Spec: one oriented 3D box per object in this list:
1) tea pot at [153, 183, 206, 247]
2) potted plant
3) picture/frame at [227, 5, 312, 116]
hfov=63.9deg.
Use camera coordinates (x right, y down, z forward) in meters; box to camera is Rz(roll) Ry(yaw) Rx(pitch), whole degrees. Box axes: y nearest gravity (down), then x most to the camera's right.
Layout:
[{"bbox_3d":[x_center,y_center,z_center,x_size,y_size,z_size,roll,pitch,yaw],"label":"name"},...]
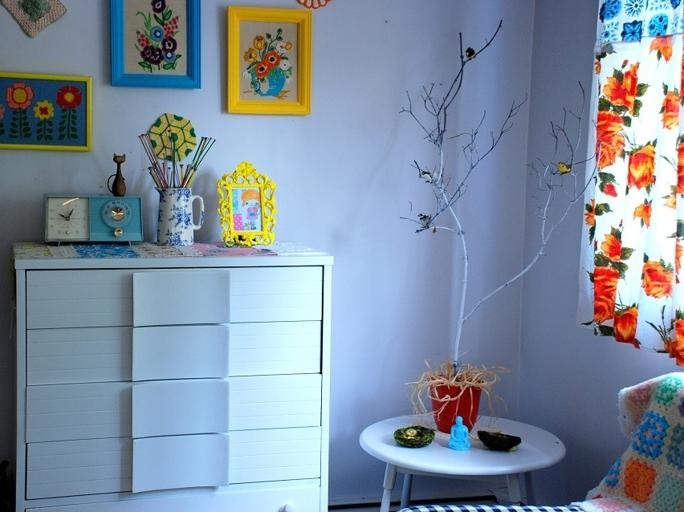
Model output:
[{"bbox_3d":[-0.615,-0.152,2.172,0.147,0.223,0.223,1,4,31],"label":"tea pot"},{"bbox_3d":[0.655,-0.054,2.362,0.809,1.733,0.828,-4,4,-2],"label":"potted plant"},{"bbox_3d":[-0.314,-0.823,2.262,0.431,0.544,0.036,0,1,-12],"label":"picture/frame"}]
